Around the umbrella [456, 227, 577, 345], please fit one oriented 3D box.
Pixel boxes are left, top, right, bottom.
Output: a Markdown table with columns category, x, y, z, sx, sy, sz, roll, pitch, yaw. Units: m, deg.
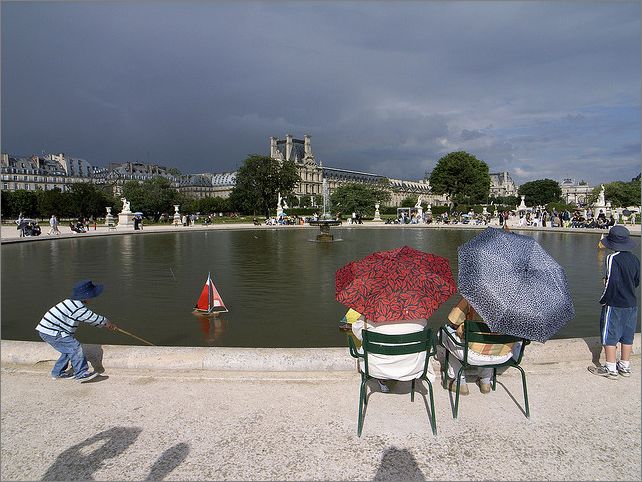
| category | x | y | z | sx | sy | sz | roll | pitch | yaw |
| --- | --- | --- | --- | --- | --- | --- | --- | --- | --- |
| umbrella | 2.051 | 0.501 | 5.996 | 1.175 | 0.984 | 0.620 | 1 | 7 | 11 |

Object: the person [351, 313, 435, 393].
| category | x | y | z | sx | sy | sz | roll | pitch | yaw |
| --- | --- | --- | --- | --- | --- | --- | --- | --- | --- |
| person | 0.771 | 1.182 | 6.348 | 0.813 | 1.129 | 0.709 | -2 | 41 | 2 |

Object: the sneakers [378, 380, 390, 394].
| category | x | y | z | sx | sy | sz | roll | pitch | yaw |
| --- | --- | --- | --- | --- | --- | --- | --- | --- | --- |
| sneakers | 0.731 | 1.694 | 6.594 | 0.084 | 0.144 | 0.040 | 3 | -20 | -21 |

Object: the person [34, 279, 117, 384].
| category | x | y | z | sx | sy | sz | roll | pitch | yaw |
| --- | --- | --- | --- | --- | --- | --- | --- | --- | --- |
| person | -2.940 | 1.027 | 7.268 | 1.233 | 1.489 | 0.779 | 2 | 8 | -30 |

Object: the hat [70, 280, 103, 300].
| category | x | y | z | sx | sy | sz | roll | pitch | yaw |
| --- | --- | --- | --- | --- | --- | --- | --- | --- | --- |
| hat | -2.871 | 0.641 | 6.992 | 0.283 | 0.107 | 0.305 | 2 | 24 | 26 |

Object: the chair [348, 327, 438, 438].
| category | x | y | z | sx | sy | sz | roll | pitch | yaw |
| --- | --- | --- | --- | --- | --- | --- | --- | --- | --- |
| chair | 0.779 | 1.437 | 6.178 | 0.953 | 1.029 | 0.967 | 0 | 7 | 3 |

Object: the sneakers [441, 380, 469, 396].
| category | x | y | z | sx | sy | sz | roll | pitch | yaw |
| --- | --- | --- | --- | --- | --- | --- | --- | --- | --- |
| sneakers | 1.566 | 1.667 | 6.488 | 0.136 | 0.142 | 0.361 | -3 | 6 | -26 |

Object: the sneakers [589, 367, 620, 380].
| category | x | y | z | sx | sy | sz | roll | pitch | yaw |
| --- | --- | --- | --- | --- | --- | --- | --- | --- | --- |
| sneakers | 3.426 | 1.588 | 6.885 | 0.304 | 0.121 | 0.127 | 11 | 13 | 39 |

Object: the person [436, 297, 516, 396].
| category | x | y | z | sx | sy | sz | roll | pitch | yaw |
| --- | --- | --- | --- | --- | --- | --- | --- | --- | --- |
| person | 1.825 | 1.205 | 6.428 | 0.880 | 1.124 | 0.814 | -3 | 18 | -12 |

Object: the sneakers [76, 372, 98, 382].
| category | x | y | z | sx | sy | sz | roll | pitch | yaw |
| --- | --- | --- | --- | --- | --- | --- | --- | --- | --- |
| sneakers | -2.821 | 1.635 | 6.870 | 0.248 | 0.107 | 0.098 | -9 | 9 | -13 |

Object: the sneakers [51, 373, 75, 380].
| category | x | y | z | sx | sy | sz | roll | pitch | yaw |
| --- | --- | --- | --- | --- | --- | --- | --- | --- | --- |
| sneakers | -3.139 | 1.639 | 6.878 | 0.224 | 0.095 | 0.075 | -4 | 11 | -16 |

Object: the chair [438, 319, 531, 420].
| category | x | y | z | sx | sy | sz | roll | pitch | yaw |
| --- | --- | --- | --- | --- | --- | --- | --- | --- | --- |
| chair | 1.780 | 1.331 | 6.602 | 1.078 | 1.433 | 0.992 | -2 | 10 | 7 |

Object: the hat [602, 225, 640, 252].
| category | x | y | z | sx | sy | sz | roll | pitch | yaw |
| --- | --- | --- | --- | --- | --- | --- | --- | --- | --- |
| hat | 3.618 | -0.046 | 6.876 | 0.341 | 0.190 | 0.357 | -9 | 42 | 12 |

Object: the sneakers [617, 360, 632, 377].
| category | x | y | z | sx | sy | sz | roll | pitch | yaw |
| --- | --- | --- | --- | --- | --- | --- | --- | --- | --- |
| sneakers | 3.675 | 1.548 | 6.879 | 0.103 | 0.123 | 0.274 | -1 | 7 | 10 |

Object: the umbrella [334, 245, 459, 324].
| category | x | y | z | sx | sy | sz | roll | pitch | yaw |
| --- | --- | --- | --- | --- | --- | --- | --- | --- | --- |
| umbrella | 0.819 | 0.482 | 6.172 | 1.289 | 0.642 | 0.710 | 0 | 7 | 3 |
